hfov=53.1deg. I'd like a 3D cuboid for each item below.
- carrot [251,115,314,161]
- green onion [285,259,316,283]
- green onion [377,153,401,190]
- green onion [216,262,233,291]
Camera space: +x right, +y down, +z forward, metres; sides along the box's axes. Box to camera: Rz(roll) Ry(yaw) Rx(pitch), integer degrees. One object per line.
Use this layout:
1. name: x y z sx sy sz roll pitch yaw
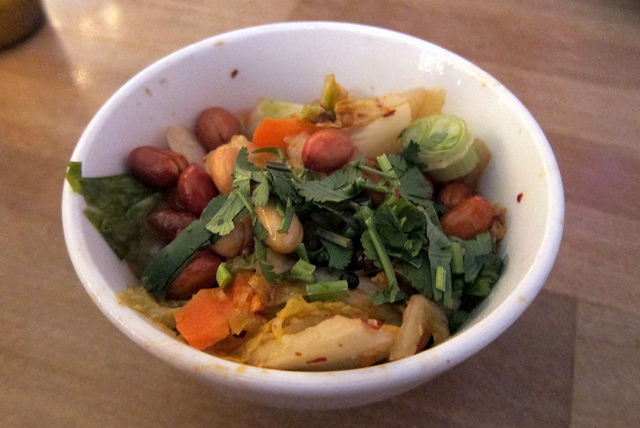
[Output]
1. carrot: -0.195 -0.345 2.632 0.215 0.194 0.080 -13 77 -14
2. green onion: -0.075 0.203 2.354 0.086 0.037 0.088 36 93 12
3. green onion: 0.252 -0.171 2.473 0.056 0.038 0.155 -25 79 -10
4. green onion: -0.356 0.225 2.367 0.049 0.036 0.089 -12 60 -7
